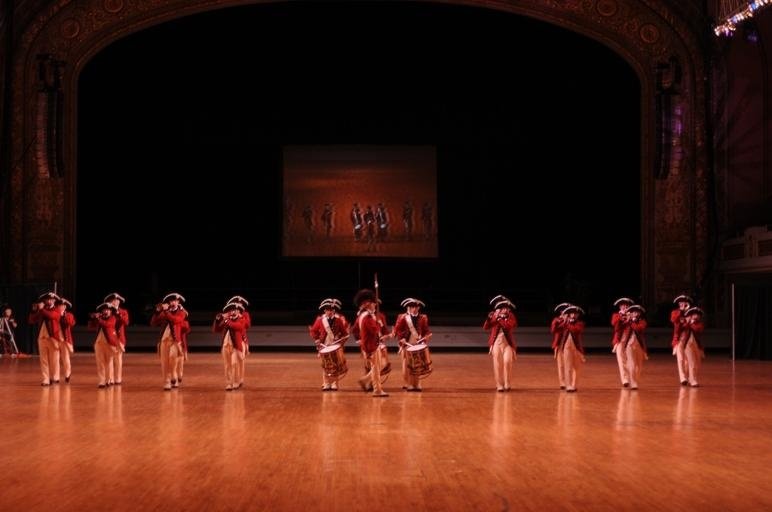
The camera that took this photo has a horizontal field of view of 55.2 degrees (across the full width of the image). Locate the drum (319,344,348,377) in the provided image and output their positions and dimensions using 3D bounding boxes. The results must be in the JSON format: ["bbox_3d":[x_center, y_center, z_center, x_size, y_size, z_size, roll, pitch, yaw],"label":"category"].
[{"bbox_3d":[-1.093,2.127,15.338,0.552,0.543,0.546,-16,14,-21],"label":"drum"}]

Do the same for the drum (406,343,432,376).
[{"bbox_3d":[0.669,2.126,15.112,0.511,0.640,0.277,0,15,1],"label":"drum"}]
